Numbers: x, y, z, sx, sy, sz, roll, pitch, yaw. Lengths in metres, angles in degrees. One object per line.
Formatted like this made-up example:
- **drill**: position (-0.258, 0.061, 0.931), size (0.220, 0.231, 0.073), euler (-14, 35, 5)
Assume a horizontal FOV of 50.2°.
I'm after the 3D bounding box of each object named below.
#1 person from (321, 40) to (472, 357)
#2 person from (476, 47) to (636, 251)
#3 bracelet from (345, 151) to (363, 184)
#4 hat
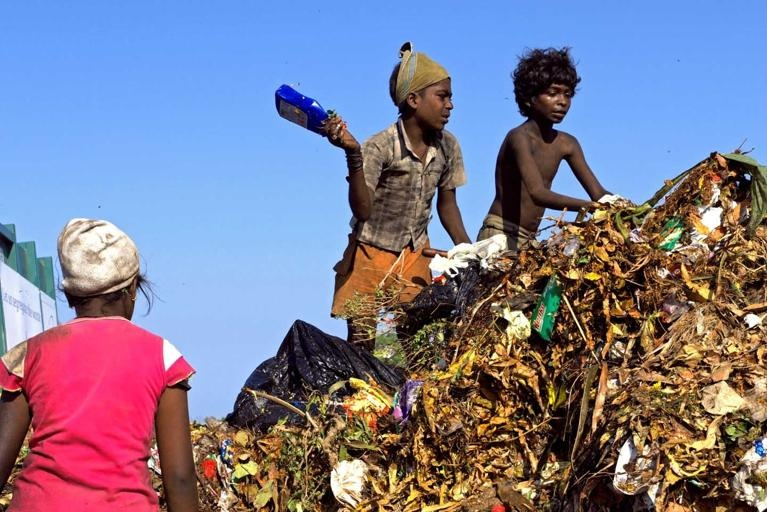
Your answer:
- **person**: position (0.122, -0.446, 6.111), size (1.121, 2.223, 1.096), euler (1, -18, -6)
- **person**: position (1.251, -0.900, 6.445), size (0.785, 1.618, 1.216), euler (1, -18, -6)
- **bracelet**: position (-0.207, -0.669, 5.784), size (0.108, 0.233, 0.195), euler (0, -18, -2)
- **hat**: position (-1.251, 0.014, 3.592), size (0.327, 0.366, 0.457), euler (-5, 0, 23)
